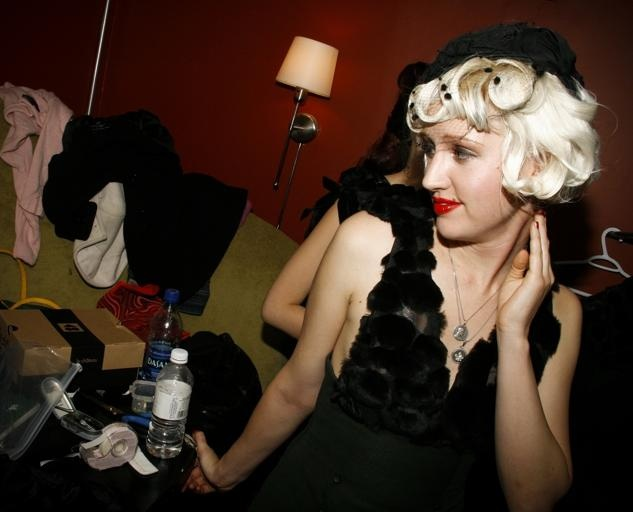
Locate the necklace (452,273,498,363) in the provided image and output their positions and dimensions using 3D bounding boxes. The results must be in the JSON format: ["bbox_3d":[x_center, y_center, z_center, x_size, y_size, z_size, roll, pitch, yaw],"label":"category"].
[{"bbox_3d":[0.446,0.182,1.744,0.134,0.248,0.025,26,-12,-11],"label":"necklace"}]

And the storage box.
[{"bbox_3d":[-0.803,0.247,2.011,0.421,0.196,0.308,24,-3,-39],"label":"storage box"}]

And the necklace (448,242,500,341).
[{"bbox_3d":[0.445,0.105,1.741,0.179,0.261,0.010,18,-9,-16],"label":"necklace"}]
